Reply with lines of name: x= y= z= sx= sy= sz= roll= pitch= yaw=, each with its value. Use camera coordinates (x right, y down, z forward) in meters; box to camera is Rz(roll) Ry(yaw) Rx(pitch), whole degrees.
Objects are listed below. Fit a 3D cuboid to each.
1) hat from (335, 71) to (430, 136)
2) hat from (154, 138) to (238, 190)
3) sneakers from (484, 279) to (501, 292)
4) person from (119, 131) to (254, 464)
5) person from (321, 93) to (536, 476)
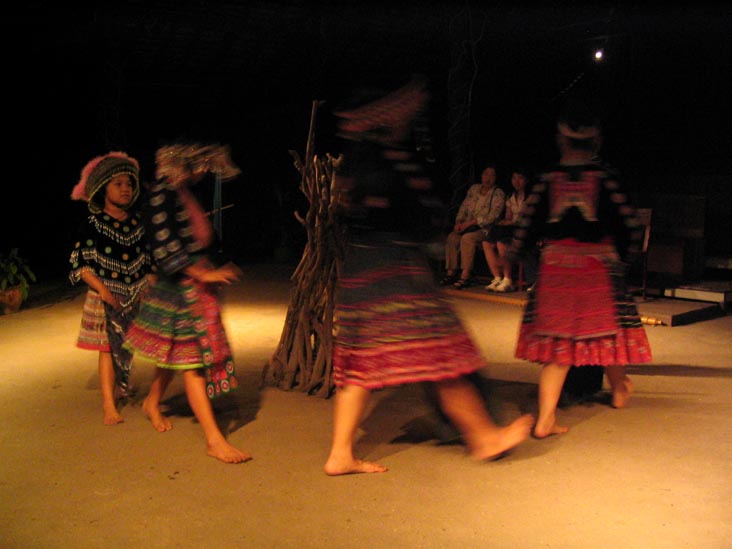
hat: x=0.105 y=-0.808 z=2.573 sx=0.445 sy=0.219 sz=0.113 roll=-25 pitch=-5 yaw=8
hat: x=-1.003 y=-0.650 z=3.156 sx=0.476 sy=0.247 sz=0.267 roll=-3 pitch=10 yaw=-17
sneakers: x=1.895 y=0.178 z=7.906 sx=0.136 sy=0.091 sz=0.292 roll=28 pitch=-31 yaw=-21
person: x=-1.034 y=0.166 z=3.096 sx=0.697 sy=1.839 sz=0.583 roll=-5 pitch=11 yaw=-19
person: x=0.232 y=0.082 z=2.814 sx=0.956 sy=2.073 sz=0.304 roll=-2 pitch=11 yaw=-5
